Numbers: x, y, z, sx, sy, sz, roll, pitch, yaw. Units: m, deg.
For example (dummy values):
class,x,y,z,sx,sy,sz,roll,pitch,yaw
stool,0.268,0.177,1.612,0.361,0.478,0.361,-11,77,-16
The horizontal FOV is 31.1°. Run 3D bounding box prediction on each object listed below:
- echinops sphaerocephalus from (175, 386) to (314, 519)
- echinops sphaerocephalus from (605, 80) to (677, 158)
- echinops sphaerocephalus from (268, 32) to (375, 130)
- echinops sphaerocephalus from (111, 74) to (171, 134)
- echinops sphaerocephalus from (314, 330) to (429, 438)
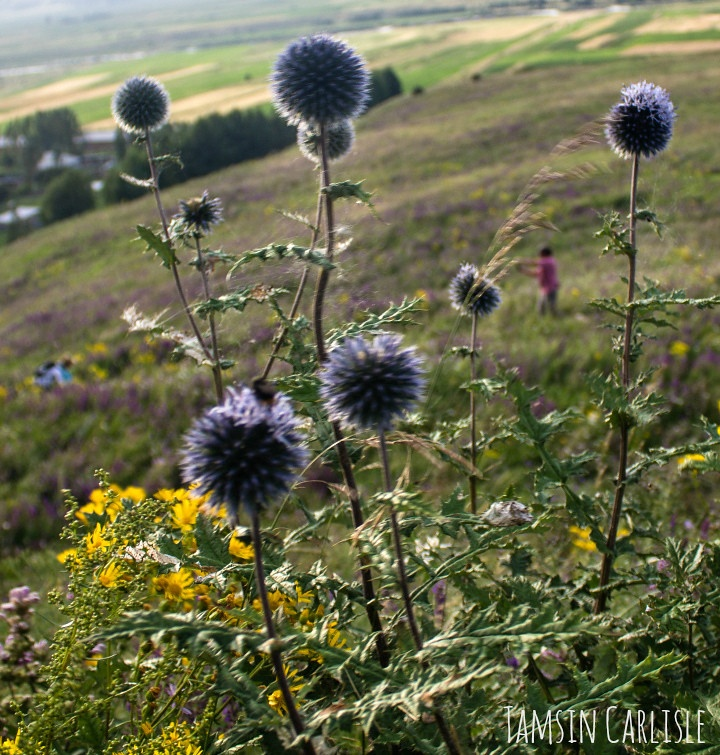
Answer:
class,x,y,z,sx,sy,sz,roll,pitch,yaw
echinops sphaerocephalus,-0.509,0.240,5.236,0.397,0.336,0.364,-8,10,12
echinops sphaerocephalus,1.349,-1.233,6.282,0.353,0.377,0.467,-9,19,13
echinops sphaerocephalus,-0.292,-1.460,6.248,0.466,0.378,0.404,10,13,1
echinops sphaerocephalus,-1.087,-1.359,6.469,0.288,0.273,0.375,-16,19,-8
echinops sphaerocephalus,0.048,0.004,5.403,0.428,0.342,0.375,7,9,3
